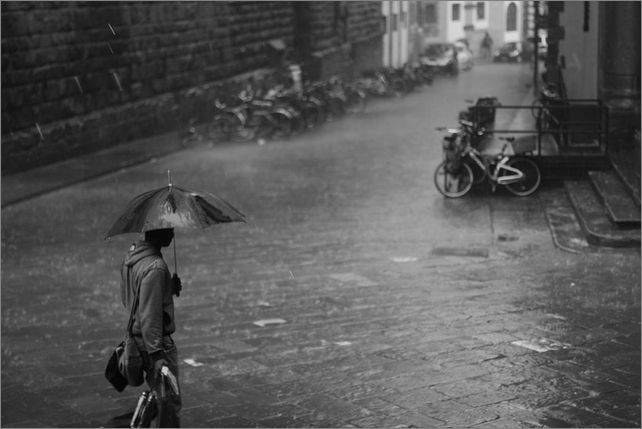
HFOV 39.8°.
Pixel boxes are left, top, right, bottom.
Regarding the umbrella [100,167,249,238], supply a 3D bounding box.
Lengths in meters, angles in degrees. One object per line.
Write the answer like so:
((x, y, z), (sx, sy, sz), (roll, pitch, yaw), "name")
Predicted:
((-1.776, -0.344, 10.975), (1.014, 0.748, 1.089), (-11, 4, 4), "umbrella")
